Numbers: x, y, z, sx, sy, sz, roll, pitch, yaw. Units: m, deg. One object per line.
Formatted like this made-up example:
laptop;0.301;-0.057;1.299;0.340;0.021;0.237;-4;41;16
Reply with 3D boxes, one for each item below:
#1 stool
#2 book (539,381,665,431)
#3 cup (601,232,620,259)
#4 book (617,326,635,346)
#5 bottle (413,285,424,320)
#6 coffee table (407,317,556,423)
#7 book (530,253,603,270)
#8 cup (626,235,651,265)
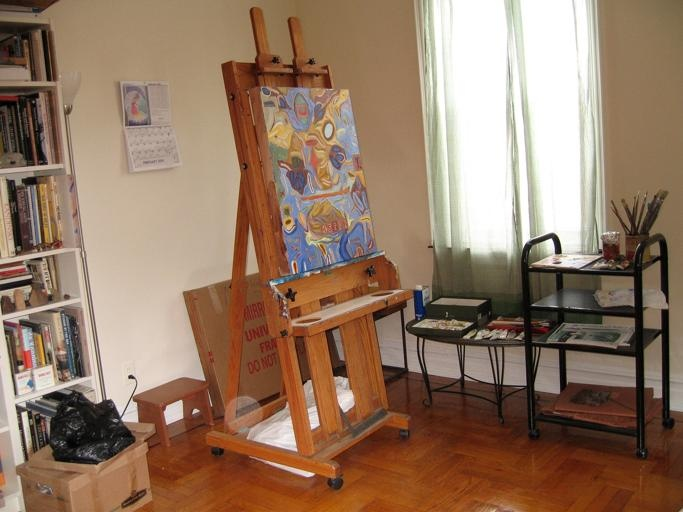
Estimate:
stool;-1.147;1.065;3.769;0.324;0.301;0.481;2;8;29
book;1.480;0.856;3.137;0.365;0.087;0.372;2;9;28
cup;1.512;-0.053;3.035;0.076;0.145;0.081;-6;13;1
book;1.586;0.447;3.009;0.069;0.021;0.195;1;21;25
bottle;0.563;0.335;3.913;0.093;0.268;0.207;0;13;13
coffee table;0.934;0.755;3.728;0.684;0.529;1.021;-11;7;-39
book;1.345;0.034;3.207;0.290;0.024;0.386;6;17;43
cup;1.632;-0.037;3.014;0.154;0.170;0.156;-2;7;0
